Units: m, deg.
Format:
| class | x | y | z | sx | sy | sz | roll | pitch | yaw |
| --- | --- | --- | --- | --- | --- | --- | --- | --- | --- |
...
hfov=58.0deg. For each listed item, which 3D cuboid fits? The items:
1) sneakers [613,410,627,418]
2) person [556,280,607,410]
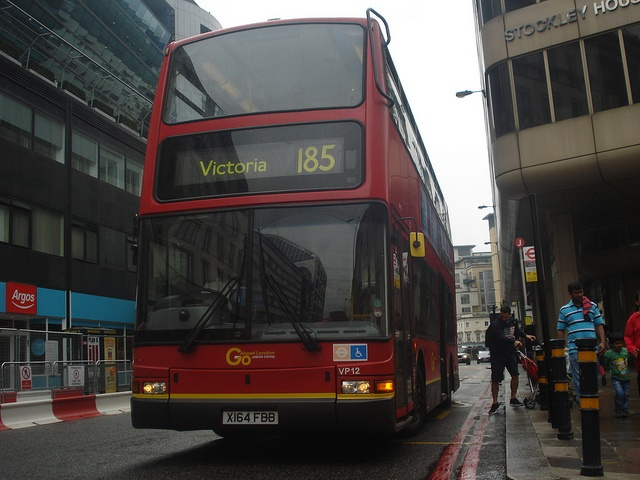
| class | x | y | z | sx | sy | sz | roll | pitch | yaw |
| --- | --- | --- | --- | --- | --- | --- | --- | --- | --- |
| sneakers | 5.411 | 3.167 | 10.379 | 0.072 | 0.118 | 0.231 | 0 | -18 | 0 |
| person | 4.479 | 1.673 | 9.882 | 0.716 | 1.886 | 1.031 | -10 | -13 | 26 |
